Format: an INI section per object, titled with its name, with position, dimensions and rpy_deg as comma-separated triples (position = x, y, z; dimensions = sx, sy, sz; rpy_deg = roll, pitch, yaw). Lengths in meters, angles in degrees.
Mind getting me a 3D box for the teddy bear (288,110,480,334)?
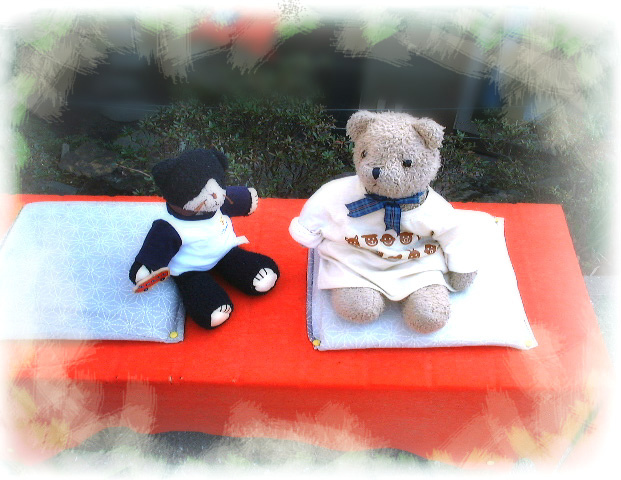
[teddy bear]
position = 0.340, -0.061, 2.139
dimensions = 0.809, 0.689, 0.646
rpy_deg = 37, 60, 21
